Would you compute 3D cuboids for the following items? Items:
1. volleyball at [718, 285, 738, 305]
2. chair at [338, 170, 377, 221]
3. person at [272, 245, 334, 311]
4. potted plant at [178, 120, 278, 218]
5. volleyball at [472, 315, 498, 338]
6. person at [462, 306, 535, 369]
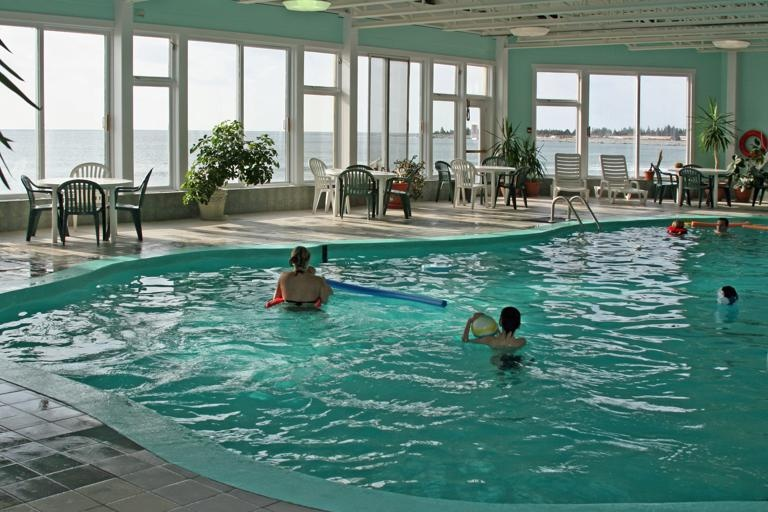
[{"bbox_3d":[4.318,0.490,6.850,0.232,0.221,0.267,3,19,18],"label":"volleyball"},{"bbox_3d":[-0.529,-1.448,12.098,0.864,1.137,0.968,0,16,-4],"label":"chair"},{"bbox_3d":[-0.856,0.207,6.080,0.510,0.770,0.441,-13,22,-39],"label":"person"},{"bbox_3d":[-3.178,-1.862,12.434,2.708,2.024,2.694,-2,2,-25],"label":"potted plant"},{"bbox_3d":[1.002,0.682,5.415,0.243,0.173,0.257,11,14,3],"label":"volleyball"},{"bbox_3d":[1.085,1.029,5.530,0.667,1.006,0.365,2,27,1],"label":"person"}]
